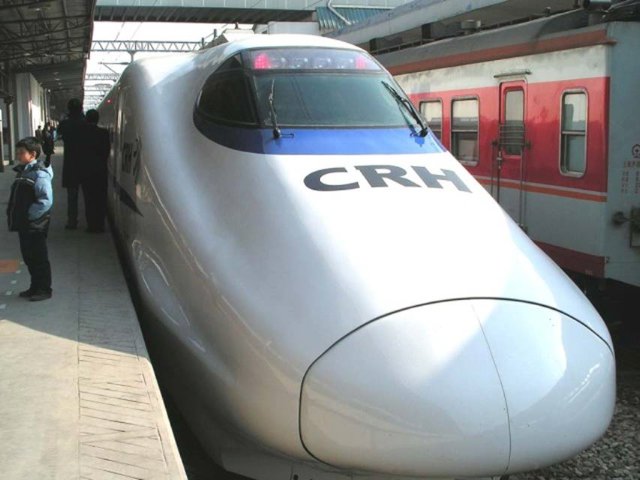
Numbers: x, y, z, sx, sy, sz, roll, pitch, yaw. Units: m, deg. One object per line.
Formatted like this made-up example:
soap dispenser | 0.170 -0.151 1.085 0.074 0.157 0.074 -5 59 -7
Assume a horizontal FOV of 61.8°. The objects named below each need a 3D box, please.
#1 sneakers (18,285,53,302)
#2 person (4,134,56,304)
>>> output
sneakers | -2.842 0.542 5.417 0.325 0.166 0.131 4 7 -10
person | -2.931 -0.235 5.474 0.430 1.577 0.669 -5 13 -28
